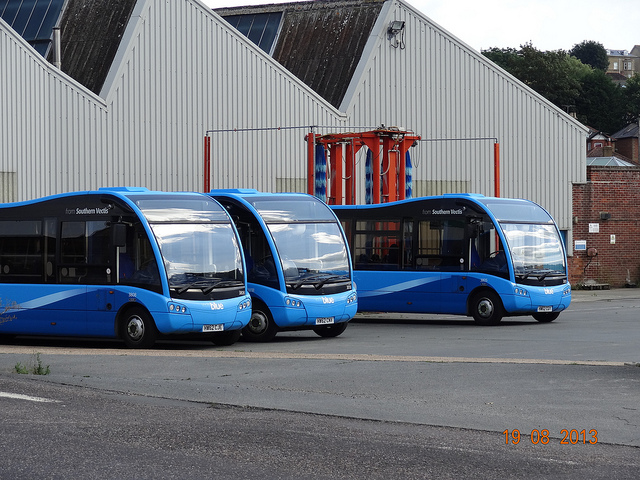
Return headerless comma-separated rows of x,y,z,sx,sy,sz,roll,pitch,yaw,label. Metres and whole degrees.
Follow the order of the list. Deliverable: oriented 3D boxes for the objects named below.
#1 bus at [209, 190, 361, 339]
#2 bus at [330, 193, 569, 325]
-1.200,0.740,22.570,2.453,3.369,4.169,2,-8,-42,bus
2.768,0.395,26.618,2.559,3.268,7.405,-2,0,-44,bus
